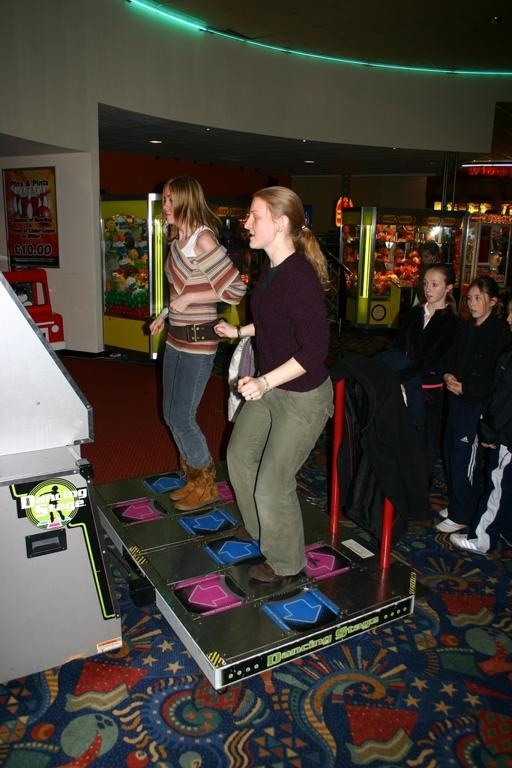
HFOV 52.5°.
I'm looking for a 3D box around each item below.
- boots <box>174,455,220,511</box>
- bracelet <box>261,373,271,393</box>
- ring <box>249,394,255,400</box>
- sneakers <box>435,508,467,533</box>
[{"bbox_3d":[-0.288,0.486,2.615,0.238,0.220,0.190,-7,11,-31],"label":"boots"},{"bbox_3d":[0.029,-0.005,1.544,0.031,0.046,0.044,-14,40,-9],"label":"bracelet"},{"bbox_3d":[-0.012,0.037,1.503,0.005,0.015,0.016,30,-13,38],"label":"ring"},{"bbox_3d":[0.978,0.702,2.684,0.081,0.051,0.141,-9,13,-27],"label":"sneakers"}]
